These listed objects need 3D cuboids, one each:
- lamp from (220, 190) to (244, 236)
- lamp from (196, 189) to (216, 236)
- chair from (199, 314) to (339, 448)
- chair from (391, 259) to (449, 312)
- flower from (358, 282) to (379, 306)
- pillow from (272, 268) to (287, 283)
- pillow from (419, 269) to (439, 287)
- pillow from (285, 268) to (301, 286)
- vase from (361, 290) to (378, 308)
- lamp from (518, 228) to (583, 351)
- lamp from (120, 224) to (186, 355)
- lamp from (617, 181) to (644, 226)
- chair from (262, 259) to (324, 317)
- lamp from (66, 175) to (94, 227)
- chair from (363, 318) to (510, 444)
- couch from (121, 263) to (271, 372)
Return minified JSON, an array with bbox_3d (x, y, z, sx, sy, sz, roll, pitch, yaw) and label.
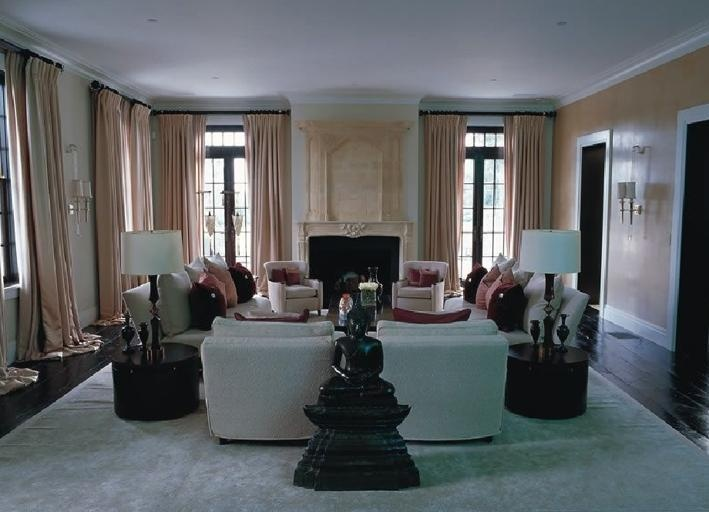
[{"bbox_3d":[-2.133,-0.721,9.327,0.346,0.807,1.021,-4,12,-19],"label":"lamp"},{"bbox_3d":[-2.610,-0.733,9.232,0.301,0.831,1.037,-3,12,-16],"label":"lamp"},{"bbox_3d":[-0.718,0.966,4.454,0.946,0.923,0.963,1,5,-6],"label":"chair"},{"bbox_3d":[0.967,0.471,7.863,0.769,0.588,0.980,2,12,10],"label":"chair"},{"bbox_3d":[0.169,0.503,6.686,0.275,0.317,0.265,0,-2,-4],"label":"flower"},{"bbox_3d":[-1.142,0.310,7.937,0.193,0.199,0.071,3,-12,-16],"label":"pillow"},{"bbox_3d":[1.128,0.368,7.971,0.363,0.376,0.200,1,-8,7],"label":"pillow"},{"bbox_3d":[-0.948,0.348,8.009,0.246,0.268,0.091,-2,0,-23],"label":"pillow"},{"bbox_3d":[0.180,0.545,6.535,0.171,0.222,0.264,-1,12,-4],"label":"vase"},{"bbox_3d":[1.775,0.304,4.873,0.438,1.100,0.477,-9,15,-35],"label":"lamp"},{"bbox_3d":[-1.862,0.298,4.933,0.581,1.089,0.563,-11,17,-42],"label":"lamp"},{"bbox_3d":[3.843,-0.732,7.322,0.328,0.598,0.418,6,13,26],"label":"lamp"},{"bbox_3d":[-0.976,0.495,8.080,0.800,0.890,0.800,0,-1,-28],"label":"chair"},{"bbox_3d":[-3.752,-0.740,7.159,0.298,0.633,0.630,-6,13,-26],"label":"lamp"},{"bbox_3d":[0.741,1.007,4.601,0.948,1.001,0.991,0,7,2],"label":"chair"},{"bbox_3d":[-1.847,0.552,5.650,0.945,0.674,1.324,2,7,0],"label":"couch"}]
